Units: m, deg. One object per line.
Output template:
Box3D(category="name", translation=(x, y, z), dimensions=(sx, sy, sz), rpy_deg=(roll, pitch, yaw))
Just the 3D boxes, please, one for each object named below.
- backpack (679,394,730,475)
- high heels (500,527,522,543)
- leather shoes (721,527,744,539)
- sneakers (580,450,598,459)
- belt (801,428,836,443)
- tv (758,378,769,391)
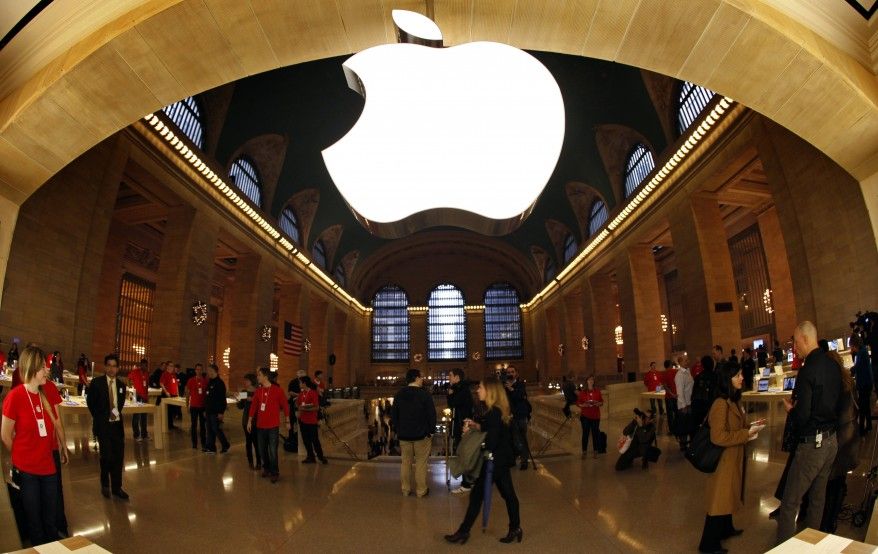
Box3D(category="backpack", translation=(3.471, 2.088, 7.057), dimensions=(0.452, 0.903, 0.427), rpy_deg=(-8, -16, 26))
Box3D(category="high heels", translation=(0.938, 3.512, 7.328), dimensions=(0.374, 0.198, 0.132), rpy_deg=(0, -8, -4))
Box3D(category="leather shoes", translation=(3.951, 3.412, 7.231), dimensions=(0.353, 0.139, 0.087), rpy_deg=(6, -16, -30))
Box3D(category="sneakers", translation=(3.429, 4.031, 12.215), dimensions=(0.170, 0.204, 0.507), rpy_deg=(-5, -24, 23))
Box3D(category="belt", translation=(4.673, 1.952, 6.655), dimensions=(0.376, 0.112, 0.106), rpy_deg=(-2, -14, -1))
Box3D(category="tv", translation=(6.607, 2.195, 11.080), dimensions=(0.254, 0.252, 0.208), rpy_deg=(-10, -28, 43))
